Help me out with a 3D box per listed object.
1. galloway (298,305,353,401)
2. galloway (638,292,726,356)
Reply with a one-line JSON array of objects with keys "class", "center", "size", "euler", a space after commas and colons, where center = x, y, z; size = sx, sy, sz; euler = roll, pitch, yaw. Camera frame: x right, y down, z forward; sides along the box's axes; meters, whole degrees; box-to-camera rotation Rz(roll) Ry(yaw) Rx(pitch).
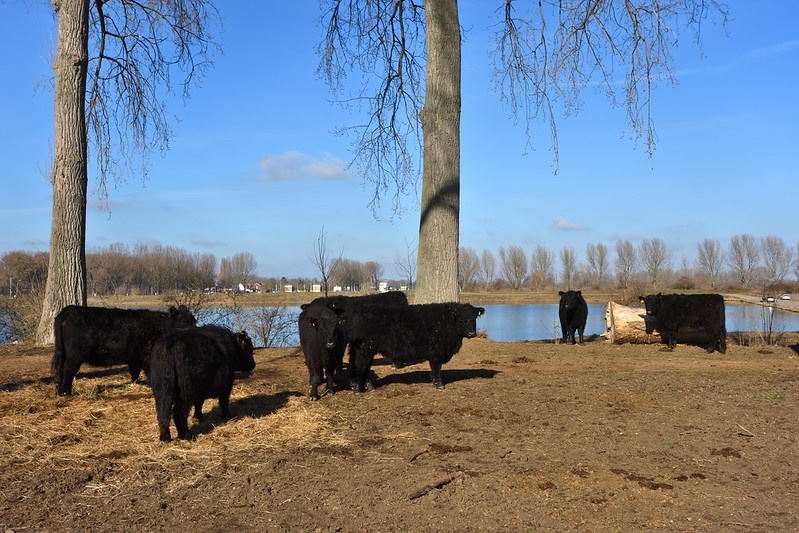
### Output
[{"class": "galloway", "center": [-1.581, 1.690, 13.054], "size": [0.888, 1.842, 1.590], "euler": [-2, 13, -8]}, {"class": "galloway", "center": [8.052, 1.546, 17.846], "size": [0.801, 1.450, 2.441], "euler": [1, -2, -36]}]
